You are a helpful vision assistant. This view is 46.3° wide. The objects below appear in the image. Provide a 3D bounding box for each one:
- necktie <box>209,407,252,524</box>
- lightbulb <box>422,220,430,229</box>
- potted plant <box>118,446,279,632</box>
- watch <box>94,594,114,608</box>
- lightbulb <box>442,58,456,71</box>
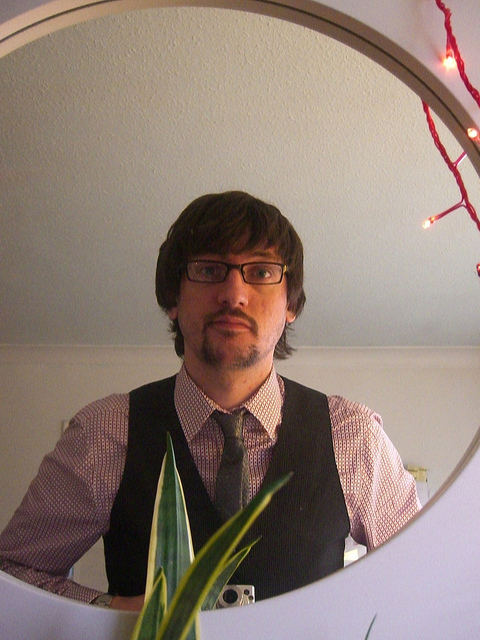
[{"bbox_3d":[-0.009,0.133,0.519,0.053,0.124,0.022,1,16,7],"label":"necktie"},{"bbox_3d":[0.188,-0.095,0.567,0.005,0.008,0.003,5,-3,-4],"label":"lightbulb"},{"bbox_3d":[-0.036,0.177,0.444,0.055,0.160,0.140,5,4,-45],"label":"potted plant"},{"bbox_3d":[-0.119,0.244,0.489,0.008,0.012,0.012,7,18,29],"label":"watch"},{"bbox_3d":[0.198,-0.239,0.530,0.009,0.012,0.008,2,16,2],"label":"lightbulb"}]
